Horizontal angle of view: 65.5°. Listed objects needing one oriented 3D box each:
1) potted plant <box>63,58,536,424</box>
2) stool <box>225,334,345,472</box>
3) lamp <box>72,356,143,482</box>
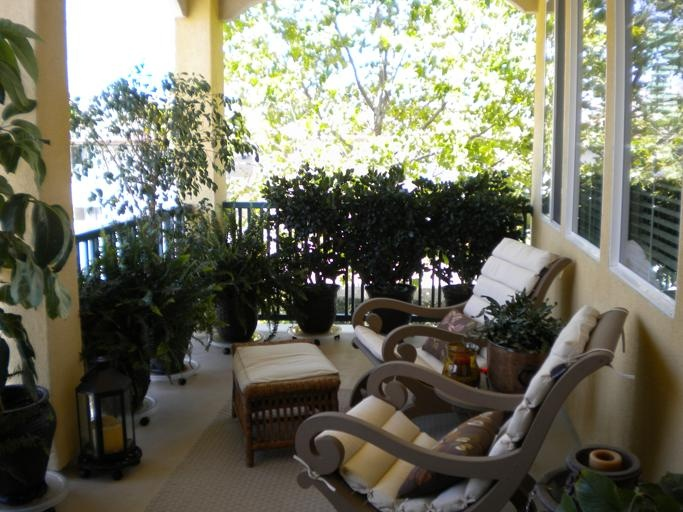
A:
[{"bbox_3d":[-0.528,-0.140,5.495,3.572,2.169,2.443,2,3,-16],"label":"potted plant"},{"bbox_3d":[-0.329,0.841,3.252,0.547,0.521,0.714,-3,6,-17],"label":"stool"},{"bbox_3d":[-1.352,0.944,3.090,0.369,0.630,0.334,-11,17,-41],"label":"lamp"}]
